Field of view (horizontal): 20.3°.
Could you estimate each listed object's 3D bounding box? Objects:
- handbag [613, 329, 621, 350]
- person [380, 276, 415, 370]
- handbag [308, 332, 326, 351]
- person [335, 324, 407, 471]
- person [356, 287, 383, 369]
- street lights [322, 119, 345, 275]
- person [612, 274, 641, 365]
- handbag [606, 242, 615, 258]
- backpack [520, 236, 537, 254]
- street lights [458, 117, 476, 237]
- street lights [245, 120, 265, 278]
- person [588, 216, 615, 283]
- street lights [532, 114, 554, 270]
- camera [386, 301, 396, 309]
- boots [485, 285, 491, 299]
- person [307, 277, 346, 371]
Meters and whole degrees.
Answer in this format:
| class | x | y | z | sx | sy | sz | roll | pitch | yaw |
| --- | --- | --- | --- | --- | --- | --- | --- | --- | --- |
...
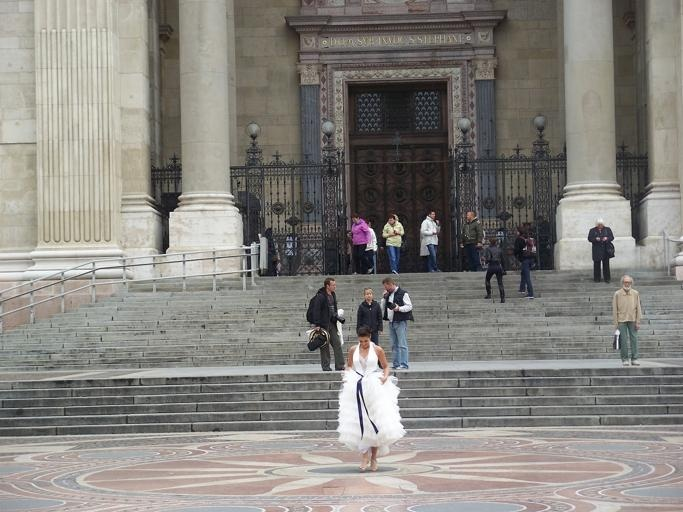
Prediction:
| class | x | y | z | sx | sy | sz | roll | pitch | yaw |
| --- | --- | --- | --- | --- | --- | --- | --- | --- | --- |
| handbag | 5.806 | 1.774 | 40.052 | 0.115 | 0.417 | 0.426 | -1 | 0 | 7 |
| person | 1.250 | 1.458 | 40.248 | 0.696 | 1.800 | 0.513 | -1 | -1 | 3 |
| handbag | -0.464 | 1.821 | 39.851 | 0.390 | 0.159 | 0.328 | -27 | -15 | 10 |
| person | 0.576 | 2.544 | 34.733 | 1.276 | 2.364 | 1.000 | 1 | -1 | 1 |
| person | 0.648 | 1.509 | 40.124 | 0.554 | 1.517 | 0.375 | -1 | 2 | 5 |
| street lights | -0.168 | -1.526 | 50.226 | 0.512 | 4.247 | 0.469 | -2 | 2 | 8 |
| person | 6.007 | 1.376 | 40.048 | 0.543 | 1.830 | 0.735 | -1 | 1 | 9 |
| handbag | 6.546 | -0.107 | 46.248 | 0.146 | 0.373 | 0.425 | -1 | 0 | 18 |
| backpack | 4.473 | -0.215 | 45.456 | 0.402 | 0.459 | 0.263 | 5 | -19 | -24 |
| street lights | 3.299 | -1.938 | 49.901 | 0.412 | 2.989 | 0.317 | -2 | 1 | 1 |
| street lights | -2.238 | -1.693 | 50.633 | 0.594 | 4.070 | 0.494 | -2 | 1 | -2 |
| person | 6.309 | -0.099 | 46.221 | 0.527 | 1.626 | 0.455 | -2 | 0 | 21 |
| street lights | 5.362 | -1.363 | 50.048 | 0.573 | 4.618 | 0.402 | -1 | 0 | 24 |
| camera | 1.101 | 1.060 | 40.268 | 0.239 | 0.155 | 0.062 | -1 | 1 | 16 |
| boots | 3.478 | 0.882 | 44.596 | 0.149 | 0.280 | 0.421 | -1 | 0 | 3 |
| person | -0.277 | 1.516 | 40.098 | 0.822 | 1.904 | 0.625 | -3 | -1 | -10 |
